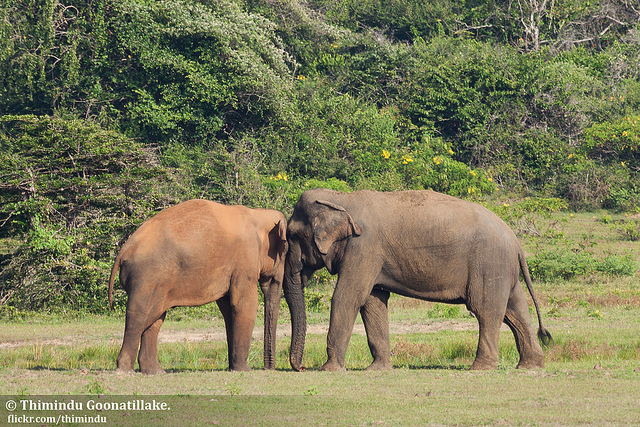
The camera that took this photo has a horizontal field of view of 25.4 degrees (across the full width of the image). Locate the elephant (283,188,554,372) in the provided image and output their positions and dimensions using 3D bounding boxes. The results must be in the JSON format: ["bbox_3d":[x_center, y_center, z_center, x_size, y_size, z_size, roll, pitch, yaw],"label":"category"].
[{"bbox_3d":[3.113,2.286,46.650,8.864,6.743,3.258,-1,9,8],"label":"elephant"}]

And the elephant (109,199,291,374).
[{"bbox_3d":[-3.217,2.546,46.661,8.118,5.908,3.062,4,3,-37],"label":"elephant"}]
